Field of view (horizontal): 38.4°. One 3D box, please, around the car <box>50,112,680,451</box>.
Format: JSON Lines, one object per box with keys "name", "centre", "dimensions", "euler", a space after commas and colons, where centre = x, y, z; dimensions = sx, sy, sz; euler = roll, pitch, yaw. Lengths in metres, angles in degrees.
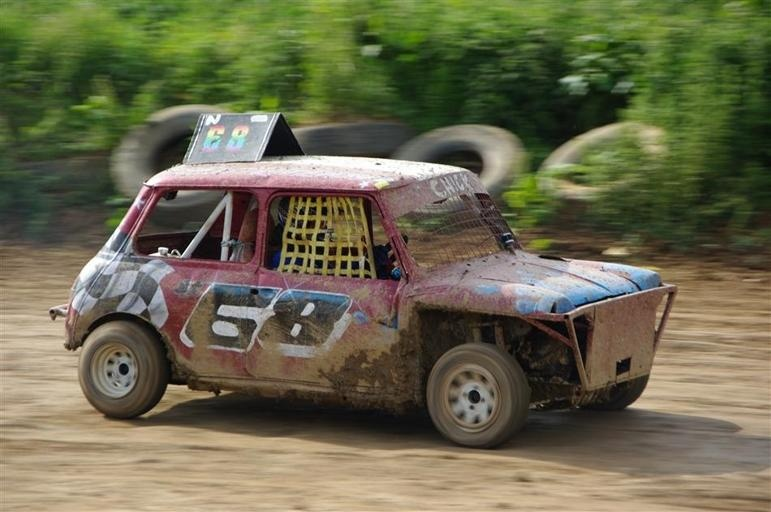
{"name": "car", "centre": [-0.278, 0.414, 11.190], "dimensions": [5.526, 2.646, 2.197], "euler": [6, 29, 13]}
